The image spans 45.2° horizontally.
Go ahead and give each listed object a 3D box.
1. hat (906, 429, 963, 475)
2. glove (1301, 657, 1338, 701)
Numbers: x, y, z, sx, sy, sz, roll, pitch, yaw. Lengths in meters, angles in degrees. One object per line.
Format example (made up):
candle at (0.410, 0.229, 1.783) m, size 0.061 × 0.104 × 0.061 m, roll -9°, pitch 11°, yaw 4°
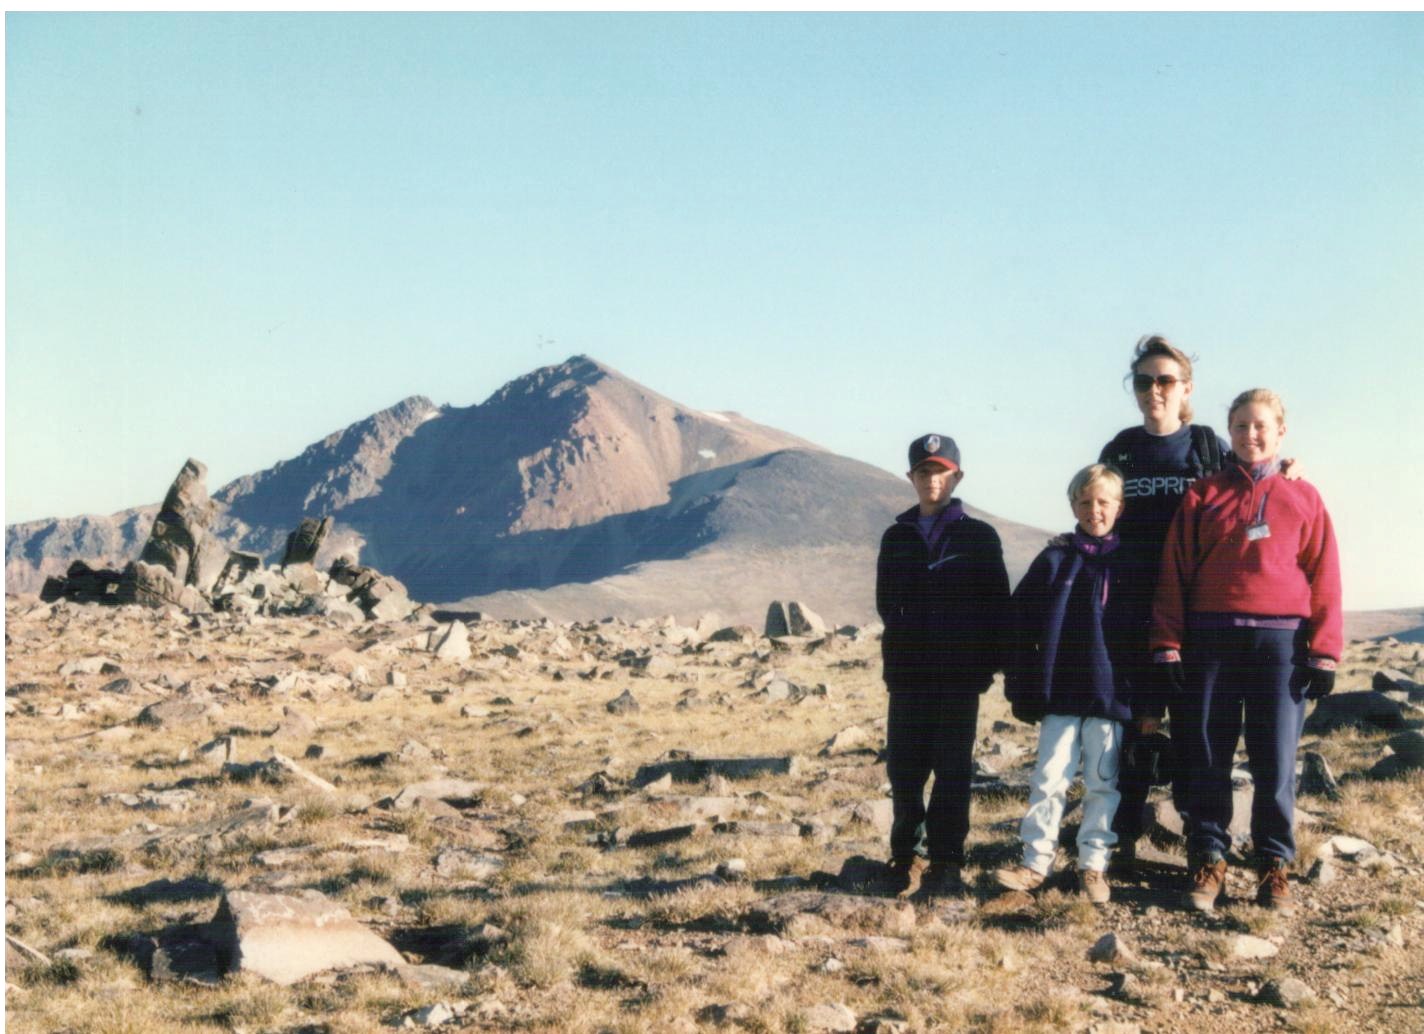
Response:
hat at (2.306, -0.666, 17.883) m, size 0.480 × 0.347 × 0.420 m, roll -1°, pitch 0°, yaw 13°
glove at (6.207, 1.673, 17.450) m, size 0.326 × 0.424 × 0.326 m, roll 6°, pitch -11°, yaw -24°
